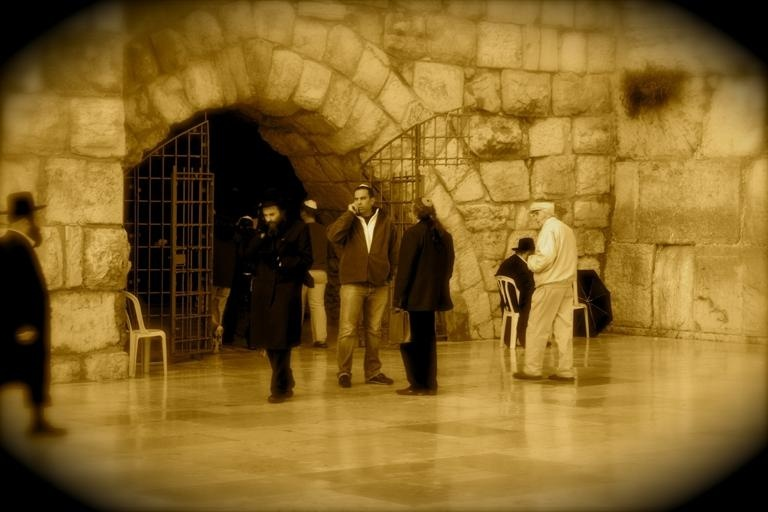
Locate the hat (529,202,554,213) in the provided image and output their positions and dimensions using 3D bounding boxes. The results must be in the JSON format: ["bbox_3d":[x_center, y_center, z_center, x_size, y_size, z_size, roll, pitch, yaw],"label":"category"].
[{"bbox_3d":[1.775,-0.566,10.161,0.246,0.109,0.205,-2,-1,8],"label":"hat"}]

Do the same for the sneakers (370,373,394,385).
[{"bbox_3d":[-0.032,1.343,9.842,0.265,0.095,0.114,-2,-6,13],"label":"sneakers"}]

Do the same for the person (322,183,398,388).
[{"bbox_3d":[-0.258,0.306,9.876,0.749,2.188,0.820,-1,6,-11],"label":"person"}]

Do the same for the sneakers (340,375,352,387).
[{"bbox_3d":[-0.407,1.326,9.608,0.111,0.104,0.138,-1,5,-1],"label":"sneakers"}]

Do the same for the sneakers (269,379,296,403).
[{"bbox_3d":[-1.023,1.378,9.067,0.102,0.130,0.308,6,9,21],"label":"sneakers"}]

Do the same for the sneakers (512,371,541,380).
[{"bbox_3d":[1.595,1.338,10.104,0.291,0.115,0.102,6,-12,13],"label":"sneakers"}]

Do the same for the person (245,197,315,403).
[{"bbox_3d":[-1.041,0.430,9.094,0.624,1.992,0.547,0,6,-6],"label":"person"}]

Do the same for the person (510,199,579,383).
[{"bbox_3d":[1.821,0.384,10.113,0.629,1.969,0.469,1,6,7],"label":"person"}]

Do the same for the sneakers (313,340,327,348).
[{"bbox_3d":[-0.856,1.183,12.092,0.181,0.073,0.071,0,2,19],"label":"sneakers"}]

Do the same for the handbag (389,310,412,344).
[{"bbox_3d":[0.171,0.752,9.634,0.148,0.326,0.411,-8,1,-20],"label":"handbag"}]

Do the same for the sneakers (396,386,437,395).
[{"bbox_3d":[0.342,1.420,9.388,0.403,0.117,0.138,4,-20,-2],"label":"sneakers"}]

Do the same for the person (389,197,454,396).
[{"bbox_3d":[0.401,0.408,9.445,0.505,2.005,0.622,3,7,25],"label":"person"}]
